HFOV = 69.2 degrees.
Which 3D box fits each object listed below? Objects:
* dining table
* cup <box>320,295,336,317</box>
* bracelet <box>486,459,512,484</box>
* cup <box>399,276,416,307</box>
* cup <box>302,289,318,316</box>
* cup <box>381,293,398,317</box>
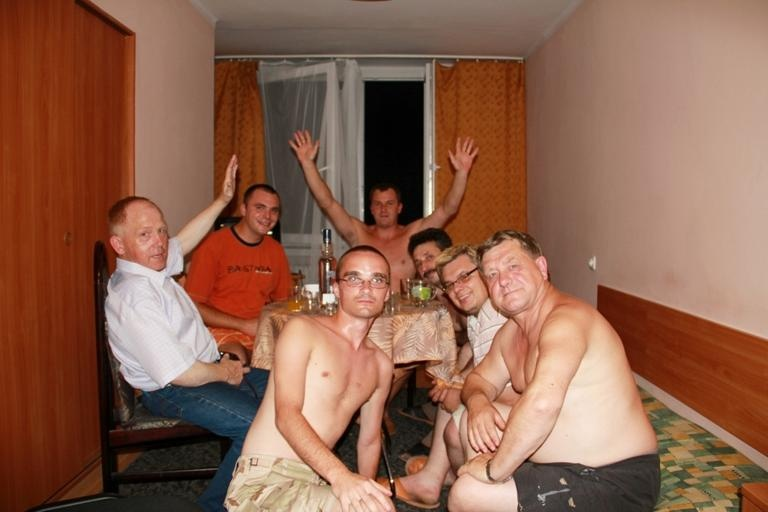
[{"bbox_3d":[0.036,0.789,3.817,1.253,0.560,1.224,-22,-18,18],"label":"dining table"},{"bbox_3d":[-0.358,0.319,3.612,0.120,0.138,0.119,-1,4,0],"label":"cup"},{"bbox_3d":[0.507,0.949,2.466,0.100,0.117,0.046,-2,-7,10],"label":"bracelet"},{"bbox_3d":[0.162,0.234,3.896,0.139,0.156,0.137,1,4,0],"label":"cup"},{"bbox_3d":[-0.470,0.298,3.559,0.131,0.150,0.132,1,4,0],"label":"cup"},{"bbox_3d":[0.053,0.317,3.557,0.117,0.188,0.114,1,6,0],"label":"cup"}]
